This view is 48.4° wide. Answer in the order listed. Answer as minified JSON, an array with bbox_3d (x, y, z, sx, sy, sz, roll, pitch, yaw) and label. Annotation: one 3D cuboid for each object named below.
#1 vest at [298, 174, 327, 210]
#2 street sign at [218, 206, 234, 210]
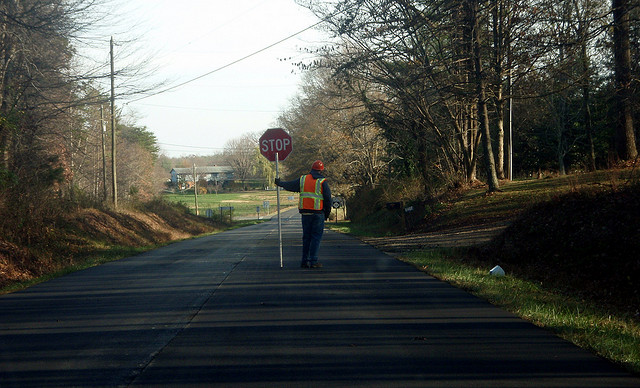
[{"bbox_3d":[-0.268,-0.051,26.171,1.139,1.528,0.771,3,3,15],"label":"vest"},{"bbox_3d":[-12.569,1.850,94.604,1.195,0.330,1.303,0,0,4],"label":"street sign"}]
